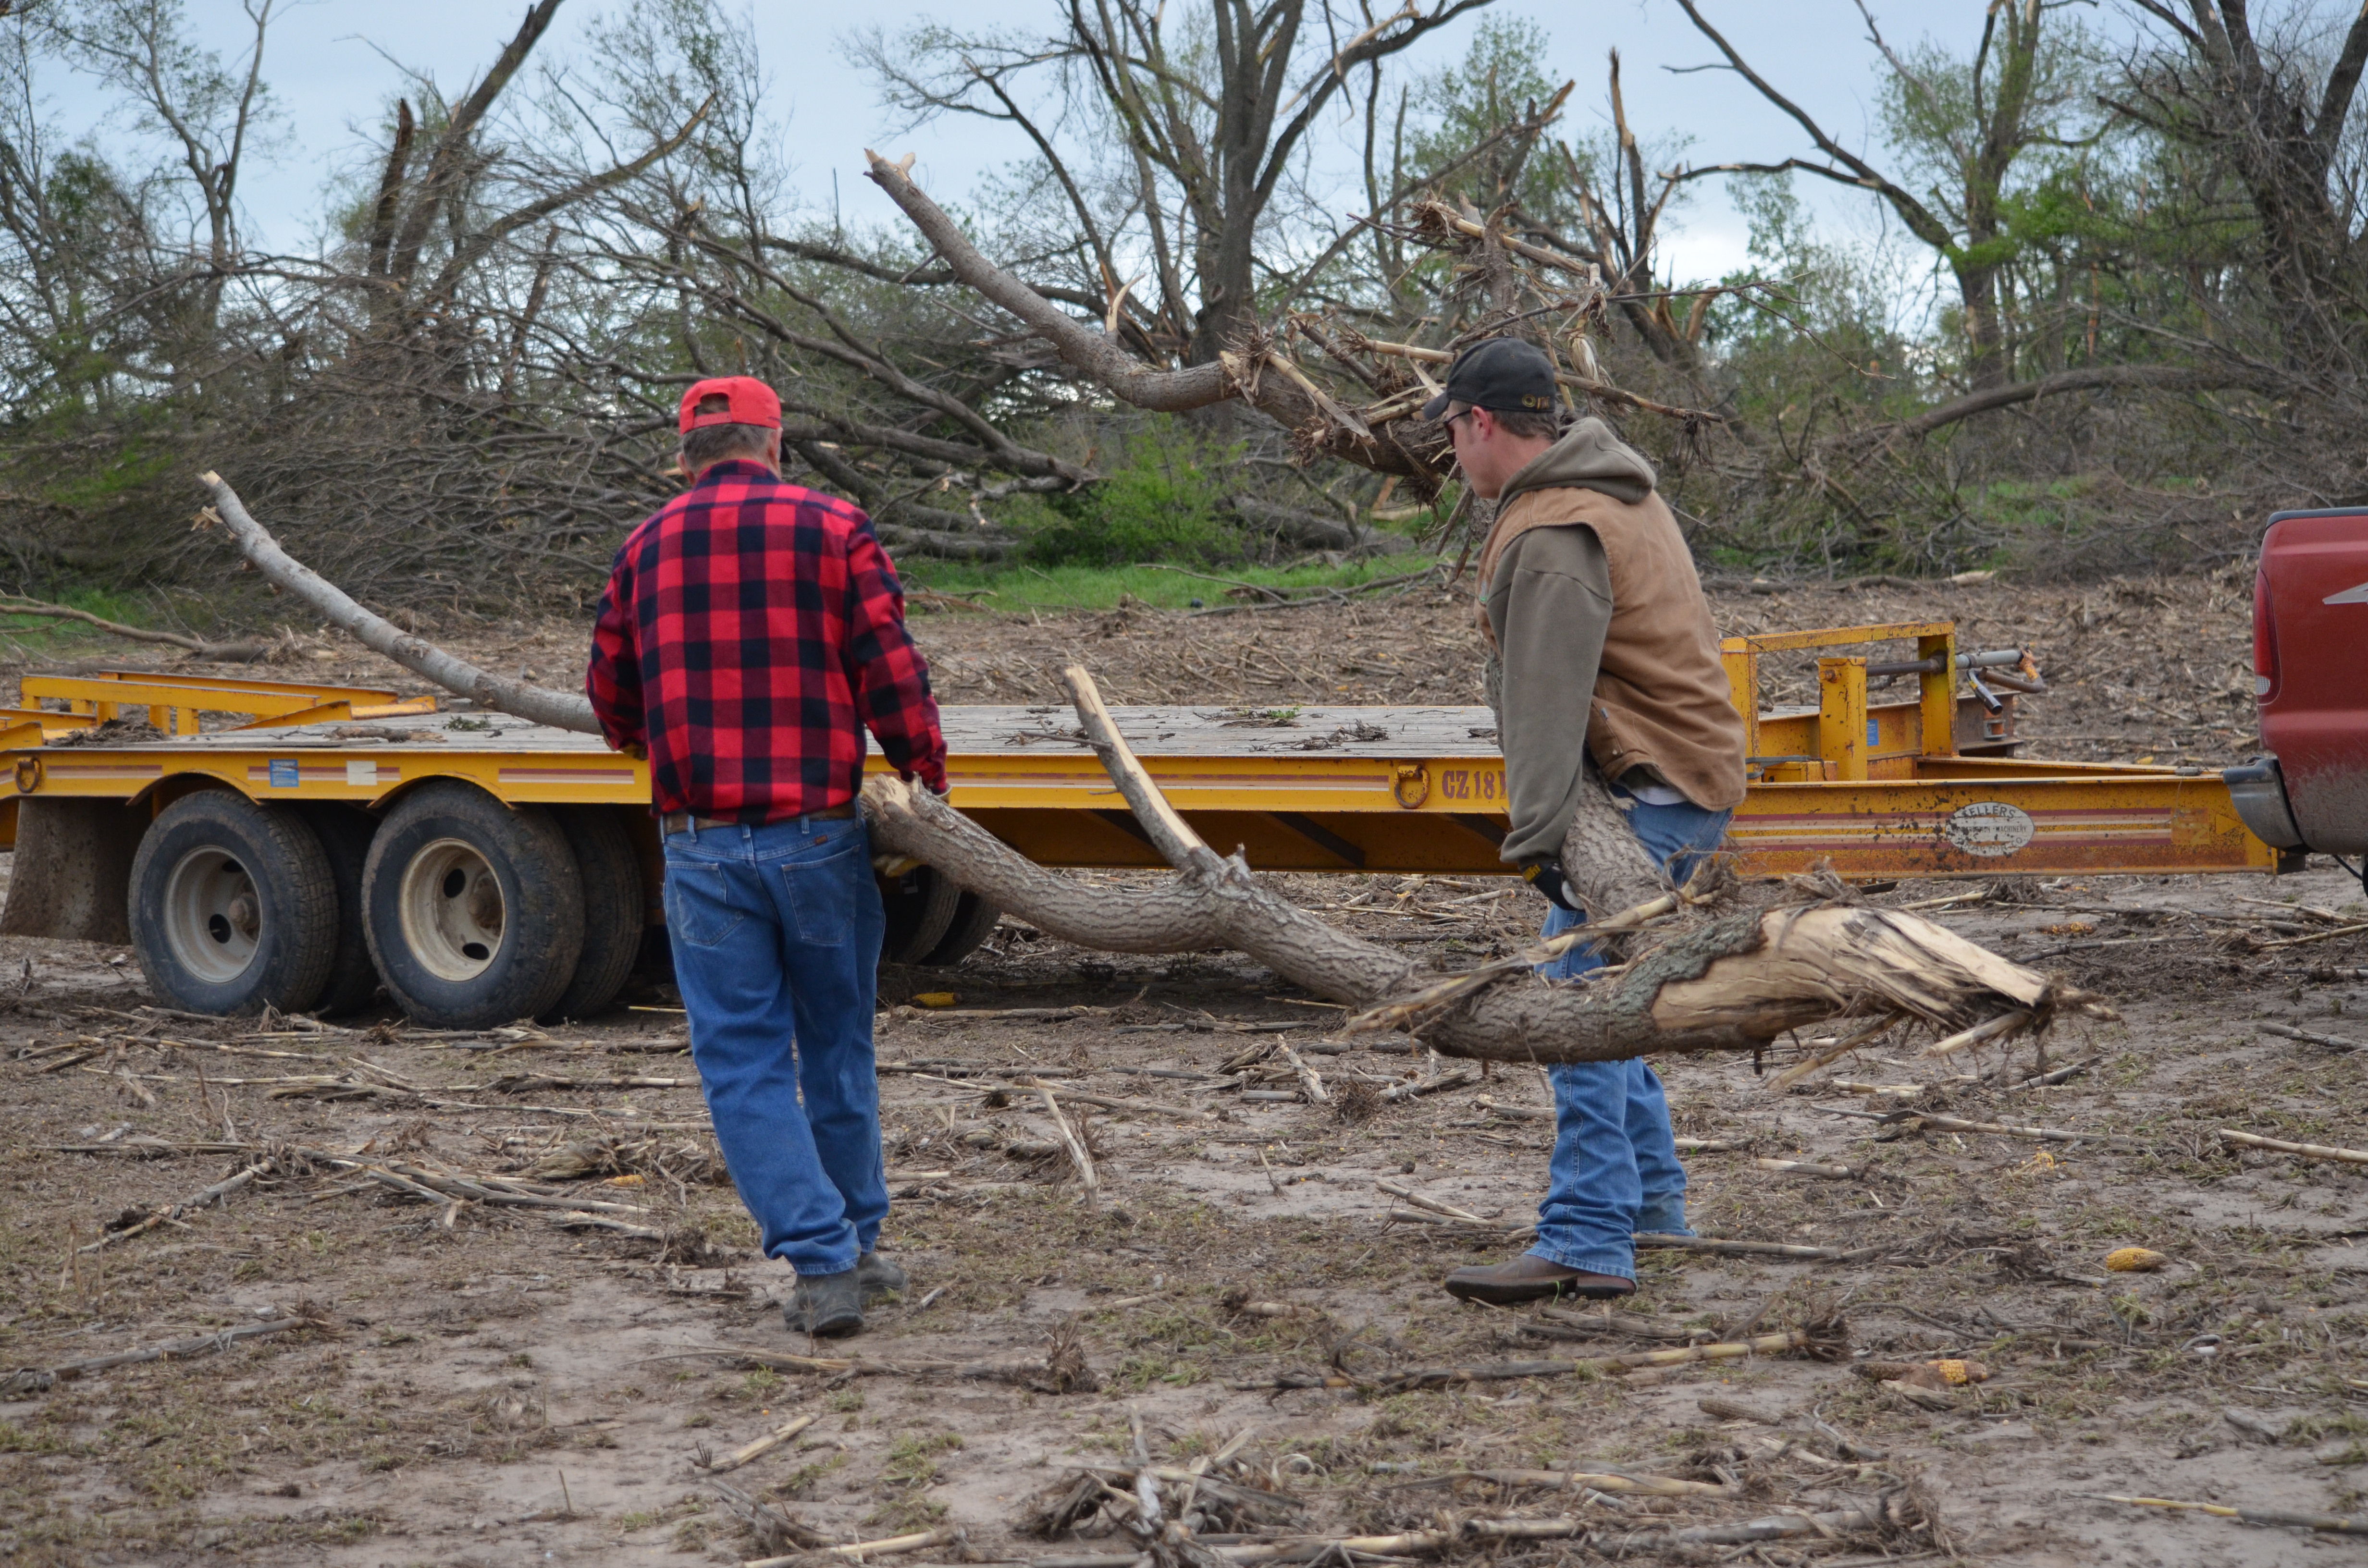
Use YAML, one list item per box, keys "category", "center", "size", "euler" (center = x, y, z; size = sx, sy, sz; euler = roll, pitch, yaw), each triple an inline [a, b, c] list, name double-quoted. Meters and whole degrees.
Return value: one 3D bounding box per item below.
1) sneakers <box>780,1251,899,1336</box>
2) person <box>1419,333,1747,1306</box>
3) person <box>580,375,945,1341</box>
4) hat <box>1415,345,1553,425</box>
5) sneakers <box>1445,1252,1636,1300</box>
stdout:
- category: "sneakers"
  center: [-1.017, 1.527, 6.517]
  size: [0.145, 0.162, 0.373]
  euler: [-3, 1, -3]
- category: "person"
  center: [1.182, 0.101, 6.357]
  size: [0.856, 2.759, 0.623]
  euler: [-4, 11, -2]
- category: "person"
  center: [-1.203, 0.346, 6.492]
  size: [1.006, 2.464, 0.726]
  euler: [-3, 11, 1]
- category: "hat"
  center: [0.890, -1.158, 6.280]
  size: [0.294, 0.141, 0.202]
  euler: [5, 14, 16]
- category: "sneakers"
  center: [1.059, 1.411, 6.449]
  size: [0.538, 0.203, 0.194]
  euler: [1, -7, 8]
